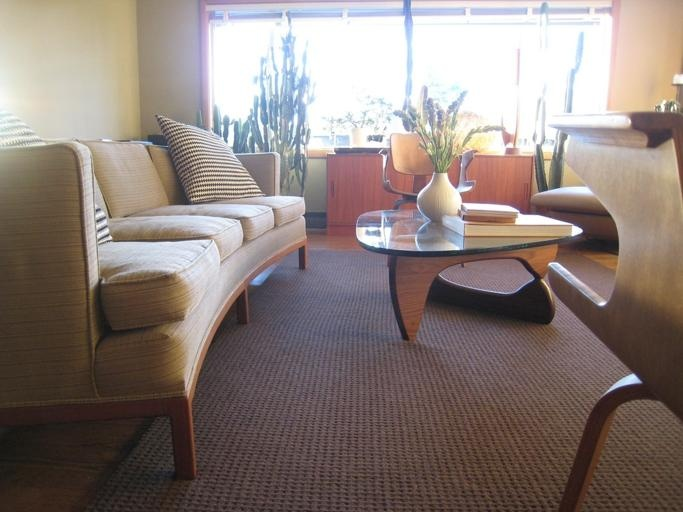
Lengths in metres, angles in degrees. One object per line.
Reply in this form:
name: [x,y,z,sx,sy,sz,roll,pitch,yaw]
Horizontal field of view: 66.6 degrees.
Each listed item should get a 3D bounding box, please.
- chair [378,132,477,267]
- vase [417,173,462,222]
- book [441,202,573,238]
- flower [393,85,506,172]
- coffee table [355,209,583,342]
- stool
chair: [0.557,-0.476,3.859,0.758,0.959,0.673,-2,14,-6]
vase: [0.446,-0.274,2.414,0.202,0.228,0.208,6,10,30]
book: [0.651,-0.135,2.056,0.481,0.126,0.309,2,20,10]
flower: [0.476,-0.585,2.475,0.413,0.405,0.549,-1,20,1]
coffee table: [0.376,0.007,2.100,0.714,0.275,0.552,2,19,-19]
stool: [1.707,-0.333,3.777,0.578,0.310,0.618,4,14,-11]
